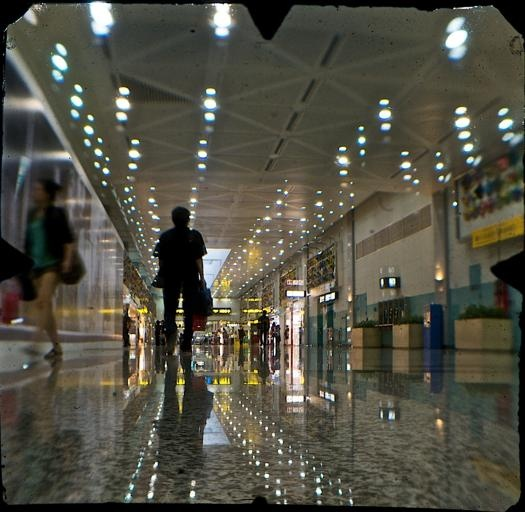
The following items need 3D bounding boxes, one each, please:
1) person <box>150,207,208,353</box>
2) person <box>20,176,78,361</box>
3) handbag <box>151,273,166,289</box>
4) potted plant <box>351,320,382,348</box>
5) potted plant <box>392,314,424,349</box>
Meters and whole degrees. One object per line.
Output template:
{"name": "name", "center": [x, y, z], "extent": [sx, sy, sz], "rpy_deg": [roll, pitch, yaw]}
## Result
{"name": "person", "center": [-1.196, 0.318, 6.155], "extent": [0.710, 2.187, 0.919], "rpy_deg": [1, -10, -1]}
{"name": "person", "center": [-2.083, 0.057, 4.144], "extent": [0.487, 1.939, 1.189], "rpy_deg": [6, -11, -30]}
{"name": "handbag", "center": [-1.443, 0.367, 5.782], "extent": [0.183, 0.181, 0.323], "rpy_deg": [-4, 30, -15]}
{"name": "potted plant", "center": [4.888, 3.670, 19.534], "extent": [1.158, 1.129, 1.660], "rpy_deg": [-2, -11, 13]}
{"name": "potted plant", "center": [6.003, 3.281, 17.555], "extent": [1.113, 1.494, 2.065], "rpy_deg": [4, -15, -5]}
